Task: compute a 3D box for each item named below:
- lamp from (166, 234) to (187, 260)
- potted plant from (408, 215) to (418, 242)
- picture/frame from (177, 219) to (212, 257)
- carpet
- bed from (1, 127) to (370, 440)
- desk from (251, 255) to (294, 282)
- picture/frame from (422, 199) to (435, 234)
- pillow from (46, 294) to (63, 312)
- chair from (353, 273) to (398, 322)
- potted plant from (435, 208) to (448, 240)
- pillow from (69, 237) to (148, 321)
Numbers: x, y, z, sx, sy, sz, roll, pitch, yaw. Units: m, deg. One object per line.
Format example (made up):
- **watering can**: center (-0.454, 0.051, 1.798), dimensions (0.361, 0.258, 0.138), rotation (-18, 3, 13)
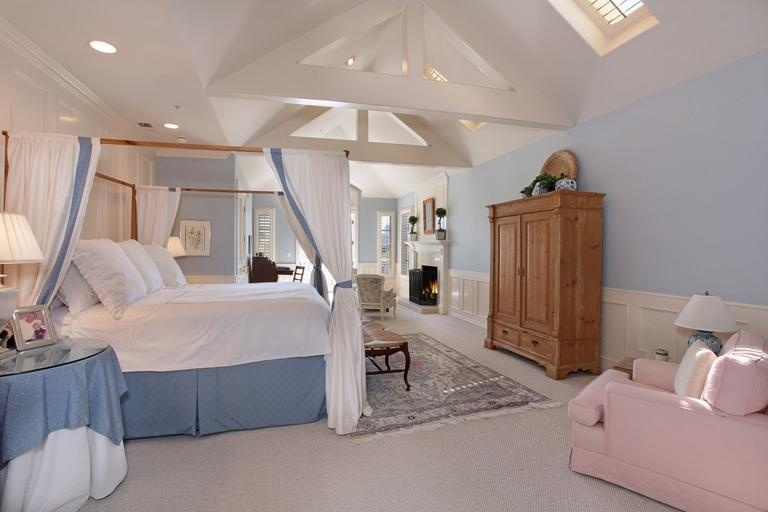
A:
- **lamp**: center (-3.164, -0.123, 7.382), dimensions (0.328, 0.269, 0.313), rotation (-6, 5, -3)
- **potted plant**: center (0.741, -0.667, 11.606), dimensions (0.235, 0.607, 0.481), rotation (-2, 2, 3)
- **picture/frame**: center (-3.151, -0.294, 7.848), dimensions (0.469, 0.661, 0.024), rotation (0, -21, -19)
- **carpet**: center (0.528, 1.508, 6.166), dimensions (2.233, 0.535, 2.443), rotation (-2, 1, -13)
- **bed**: center (-2.134, 0.020, 5.610), dimensions (3.079, 2.796, 3.126), rotation (-2, 6, -18)
- **desk**: center (-2.583, 0.307, 10.508), dimensions (0.644, 0.795, 0.796), rotation (-1, 2, -17)
- **picture/frame**: center (1.039, -0.904, 10.854), dimensions (0.081, 1.049, 0.862), rotation (1, -1, -18)
- **pillow**: center (-3.335, 0.480, 4.770), dimensions (0.045, 0.135, 0.135), rotation (-19, -35, 6)
- **chair**: center (-0.163, 0.794, 9.535), dimensions (0.679, 0.940, 0.804), rotation (0, 6, 15)
- **potted plant**: center (1.228, -0.679, 10.064), dimensions (0.222, 0.676, 0.529), rotation (-2, 2, 7)
- **pillow**: center (-2.815, 0.183, 4.838), dimensions (0.197, 0.736, 0.691), rotation (-30, -3, 12)
